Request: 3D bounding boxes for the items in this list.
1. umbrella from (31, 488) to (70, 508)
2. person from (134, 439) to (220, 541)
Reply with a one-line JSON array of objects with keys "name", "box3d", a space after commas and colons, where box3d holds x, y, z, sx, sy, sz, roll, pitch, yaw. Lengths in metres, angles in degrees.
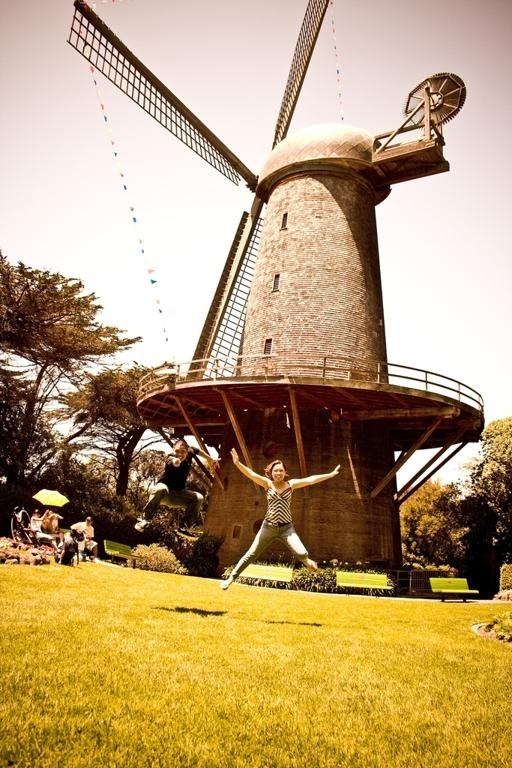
[{"name": "umbrella", "box3d": [-7.735, 4.283, 20.530, 1.033, 0.566, 2.477, 10, -15, -21]}, {"name": "person", "box3d": [-1.057, 1.517, 8.318, 1.262, 1.411, 0.963, 17, -33, -32]}]
